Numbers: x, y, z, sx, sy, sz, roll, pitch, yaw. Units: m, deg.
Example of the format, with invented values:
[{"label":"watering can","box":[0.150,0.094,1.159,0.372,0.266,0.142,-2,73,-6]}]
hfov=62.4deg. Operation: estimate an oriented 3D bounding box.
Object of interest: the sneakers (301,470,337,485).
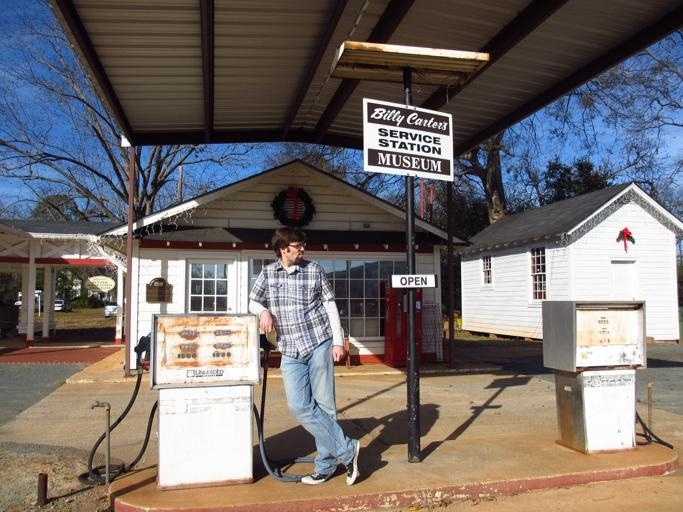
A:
[{"label":"sneakers","box":[-0.230,2.291,5.844,0.333,0.134,0.124,8,-11,-17]}]

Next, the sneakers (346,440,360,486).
[{"label":"sneakers","box":[0.115,2.127,5.793,0.168,0.433,0.146,2,8,2]}]
